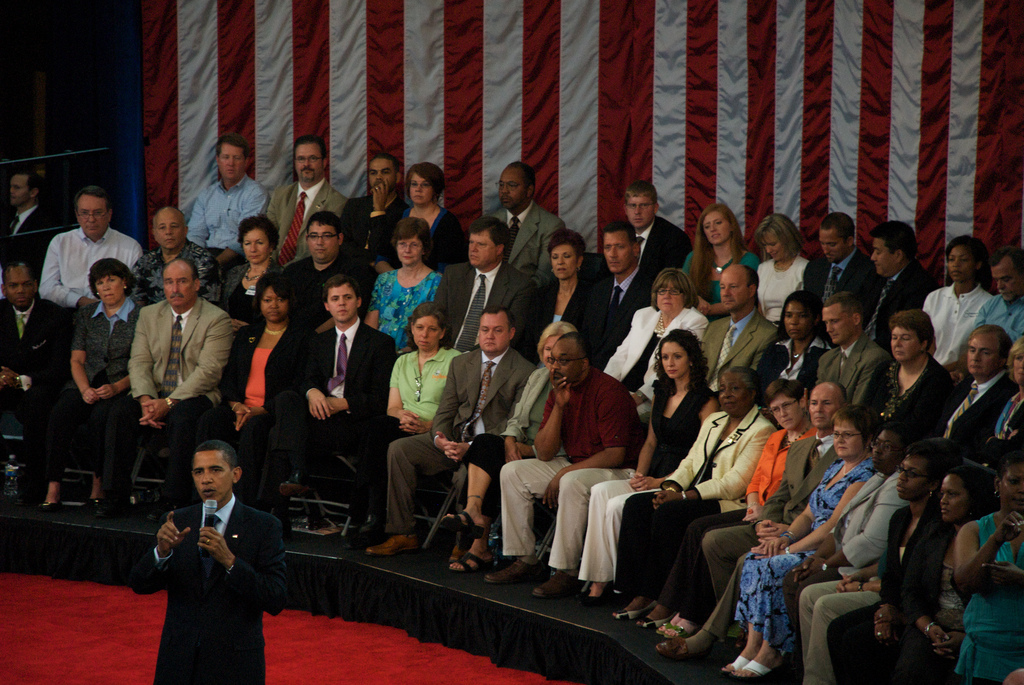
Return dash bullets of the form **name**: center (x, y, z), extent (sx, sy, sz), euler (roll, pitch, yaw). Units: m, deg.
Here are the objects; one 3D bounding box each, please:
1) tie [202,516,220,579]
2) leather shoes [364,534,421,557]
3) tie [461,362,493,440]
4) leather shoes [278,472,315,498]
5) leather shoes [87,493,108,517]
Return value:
- **tie**: center (-1.846, 1.235, 8.181), extent (0.078, 0.290, 0.209), euler (2, 10, -38)
- **leather shoes**: center (-0.962, 1.661, 10.998), extent (0.446, 0.180, 0.160), euler (0, 1, -29)
- **tie**: center (-0.241, 0.513, 11.238), extent (0.182, 0.698, 0.209), euler (17, 0, 29)
- **leather shoes**: center (-1.817, 1.206, 11.366), extent (0.282, 0.245, 0.173), euler (-8, 18, -8)
- **leather shoes**: center (-3.626, 1.438, 11.743), extent (0.127, 0.155, 0.380), euler (2, 9, -5)
